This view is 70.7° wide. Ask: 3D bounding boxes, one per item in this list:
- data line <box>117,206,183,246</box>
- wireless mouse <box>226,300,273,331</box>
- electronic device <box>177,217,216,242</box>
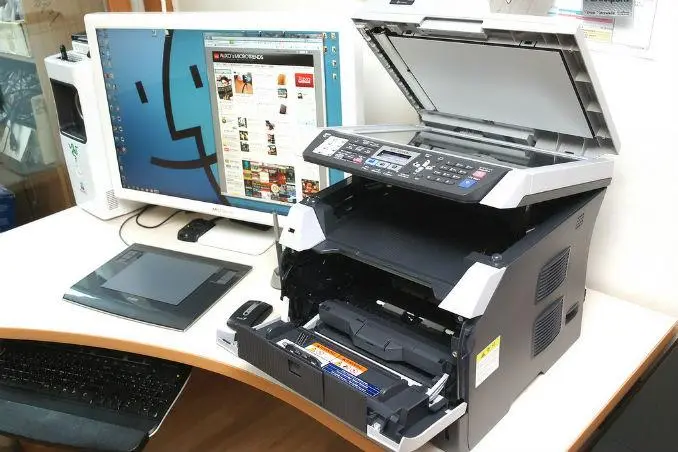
[{"bbox_3d":[-0.769,-0.011,1.870,0.009,0.110,0.221,21,23,18],"label":"data line"},{"bbox_3d":[-0.250,0.242,1.323,0.064,0.030,0.109,14,31,29],"label":"wireless mouse"},{"bbox_3d":[-0.516,0.010,1.703,0.071,0.033,0.116,12,30,22],"label":"electronic device"}]
